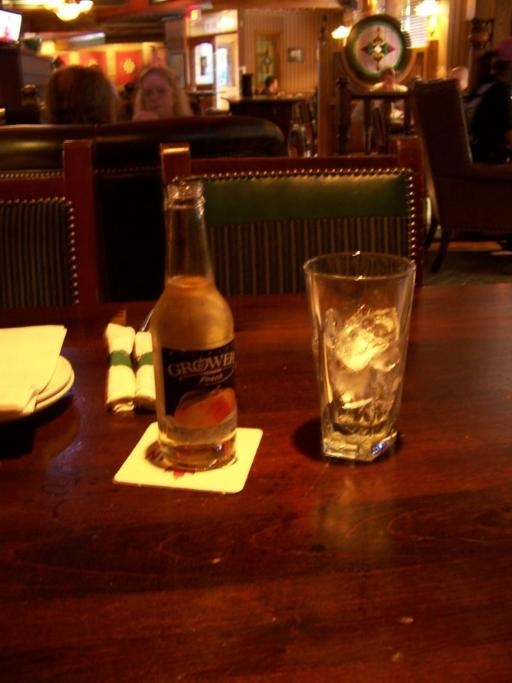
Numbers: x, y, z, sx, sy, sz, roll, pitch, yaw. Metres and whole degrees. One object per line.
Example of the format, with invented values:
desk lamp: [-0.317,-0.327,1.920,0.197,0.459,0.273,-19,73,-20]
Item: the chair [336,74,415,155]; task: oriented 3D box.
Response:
chair: [1.038,-2.172,5.359,0.843,0.832,0.887,2,20,8]
